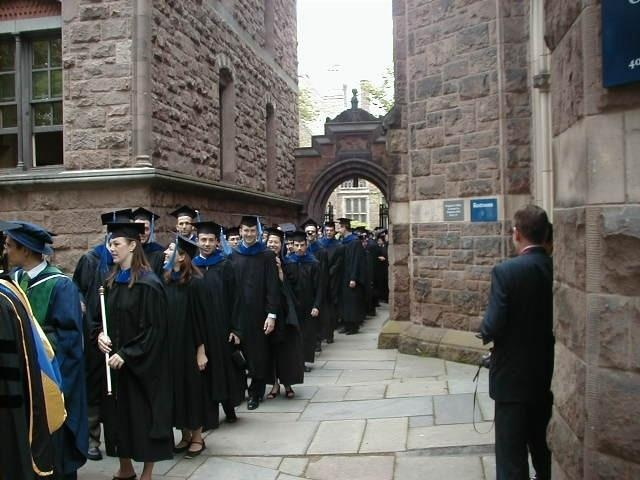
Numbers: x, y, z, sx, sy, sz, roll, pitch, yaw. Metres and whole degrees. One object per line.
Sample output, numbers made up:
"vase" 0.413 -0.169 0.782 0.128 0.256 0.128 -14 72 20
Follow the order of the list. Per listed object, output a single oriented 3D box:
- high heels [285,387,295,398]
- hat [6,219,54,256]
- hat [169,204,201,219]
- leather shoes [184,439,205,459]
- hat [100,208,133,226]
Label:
"high heels" -0.388 1.952 8.510 0.116 0.088 0.340 0 -7 -7
"hat" -2.427 -0.029 5.545 0.305 0.149 0.313 28 -1 44
"hat" -1.738 -0.348 8.194 0.276 0.076 0.300 -3 -6 19
"leather shoes" -1.262 2.104 6.707 0.222 0.116 0.166 -5 5 -17
"hat" -2.343 -0.272 7.657 0.335 0.174 0.349 -5 -5 -5
